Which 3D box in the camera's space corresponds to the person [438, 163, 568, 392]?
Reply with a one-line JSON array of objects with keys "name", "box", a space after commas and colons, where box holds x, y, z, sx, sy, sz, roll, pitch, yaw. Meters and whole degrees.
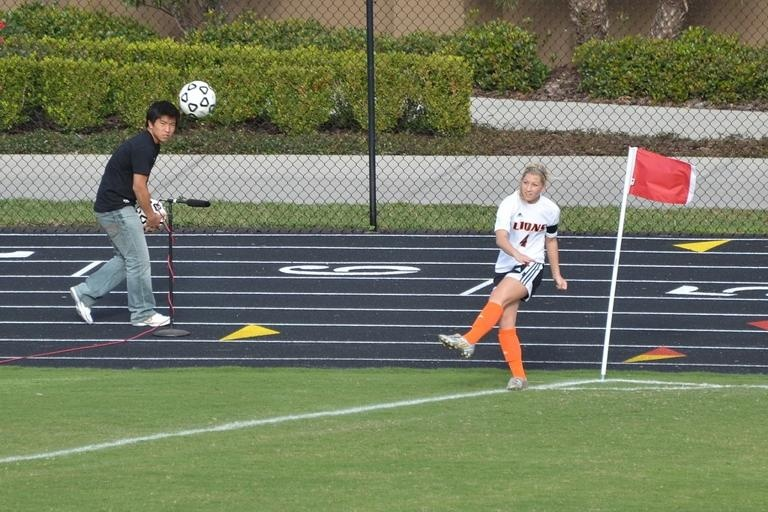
[{"name": "person", "box": [1.554, 0.250, 17.321, 0.947, 2.658, 1.407, 3, 7, 34]}]

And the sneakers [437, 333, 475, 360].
[{"name": "sneakers", "box": [0.837, 1.074, 17.121, 0.397, 0.251, 0.219, -1, 5, 1]}]

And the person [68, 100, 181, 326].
[{"name": "person", "box": [-3.430, -0.516, 18.774, 1.341, 2.936, 0.734, 2, 7, 30]}]

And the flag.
[{"name": "flag", "box": [3.562, -0.950, 18.215, 1.014, 0.615, 0.129, 6, -1, -32]}]

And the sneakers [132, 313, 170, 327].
[{"name": "sneakers", "box": [-3.123, 0.869, 18.925, 0.559, 0.201, 0.189, -2, 2, -1]}]

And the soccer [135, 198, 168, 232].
[{"name": "soccer", "box": [-3.118, -0.544, 18.920, 0.479, 0.431, 0.387, -14, 2, -23]}]

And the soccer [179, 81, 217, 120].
[{"name": "soccer", "box": [-2.767, -2.210, 20.452, 0.404, 0.504, 0.432, -4, 6, -26]}]
